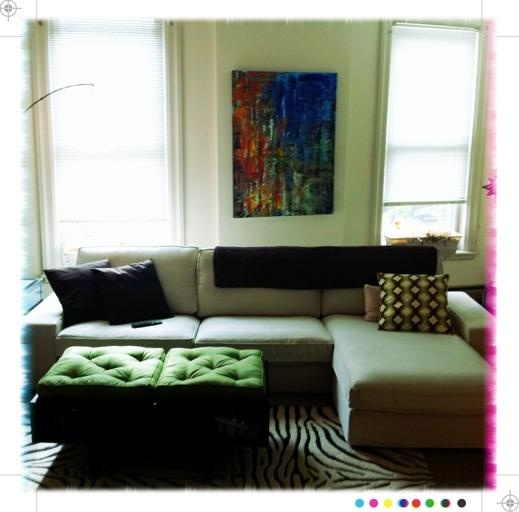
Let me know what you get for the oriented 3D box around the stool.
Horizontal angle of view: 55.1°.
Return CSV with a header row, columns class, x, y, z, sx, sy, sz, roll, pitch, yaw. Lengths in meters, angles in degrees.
class,x,y,z,sx,sy,sz,roll,pitch,yaw
stool,-0.474,0.639,2.317,1.026,0.277,0.470,-1,11,0
